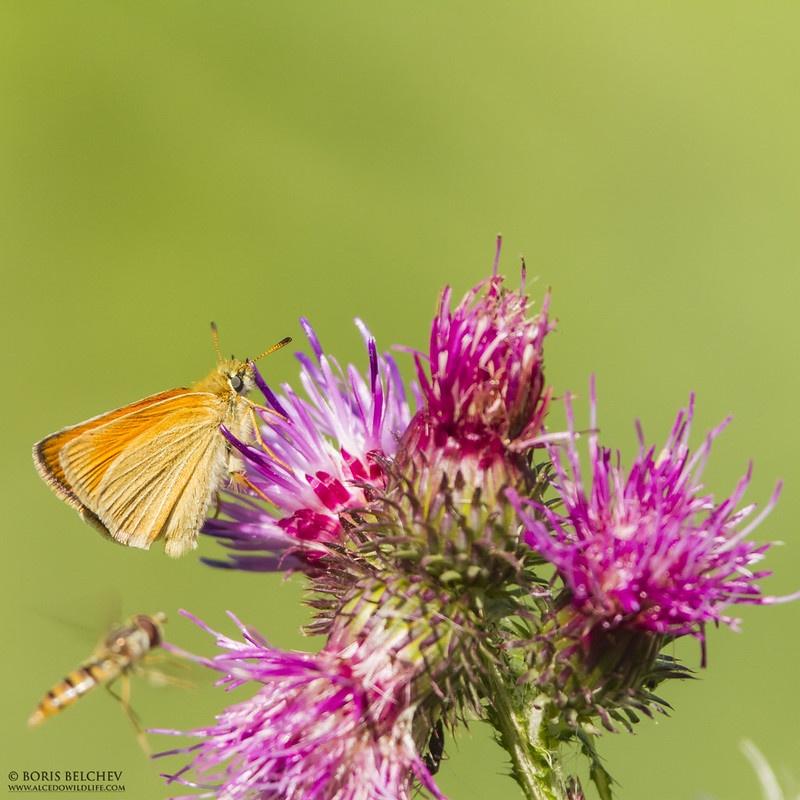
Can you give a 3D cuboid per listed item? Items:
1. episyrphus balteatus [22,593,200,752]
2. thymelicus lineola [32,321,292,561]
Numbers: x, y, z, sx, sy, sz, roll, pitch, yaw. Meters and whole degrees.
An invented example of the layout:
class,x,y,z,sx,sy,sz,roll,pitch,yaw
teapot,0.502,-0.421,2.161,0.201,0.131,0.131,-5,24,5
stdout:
class,x,y,z,sx,sy,sz,roll,pitch,yaw
episyrphus balteatus,-1.668,1.488,5.828,0.956,0.945,0.552,3,-77,25
thymelicus lineola,-1.403,0.475,6.087,1.154,1.156,1.708,-6,-87,-5
